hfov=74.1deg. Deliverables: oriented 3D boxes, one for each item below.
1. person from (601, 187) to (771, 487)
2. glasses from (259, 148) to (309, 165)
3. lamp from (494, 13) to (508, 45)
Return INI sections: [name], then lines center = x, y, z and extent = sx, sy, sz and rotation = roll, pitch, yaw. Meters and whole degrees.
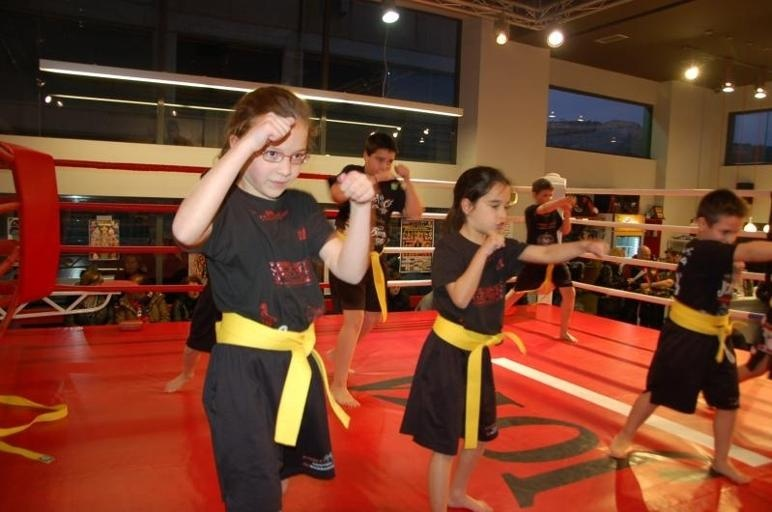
[person]
center = 1.886, 0.437, 3.142
extent = 0.686, 1.681, 0.608
rotation = 6, 9, 25
[glasses]
center = -0.414, -0.404, 2.104
extent = 0.191, 0.054, 0.044
rotation = -1, 9, -20
[lamp]
center = 1.613, -3.194, 7.165
extent = 0.159, 0.438, 0.286
rotation = 3, 9, 10
